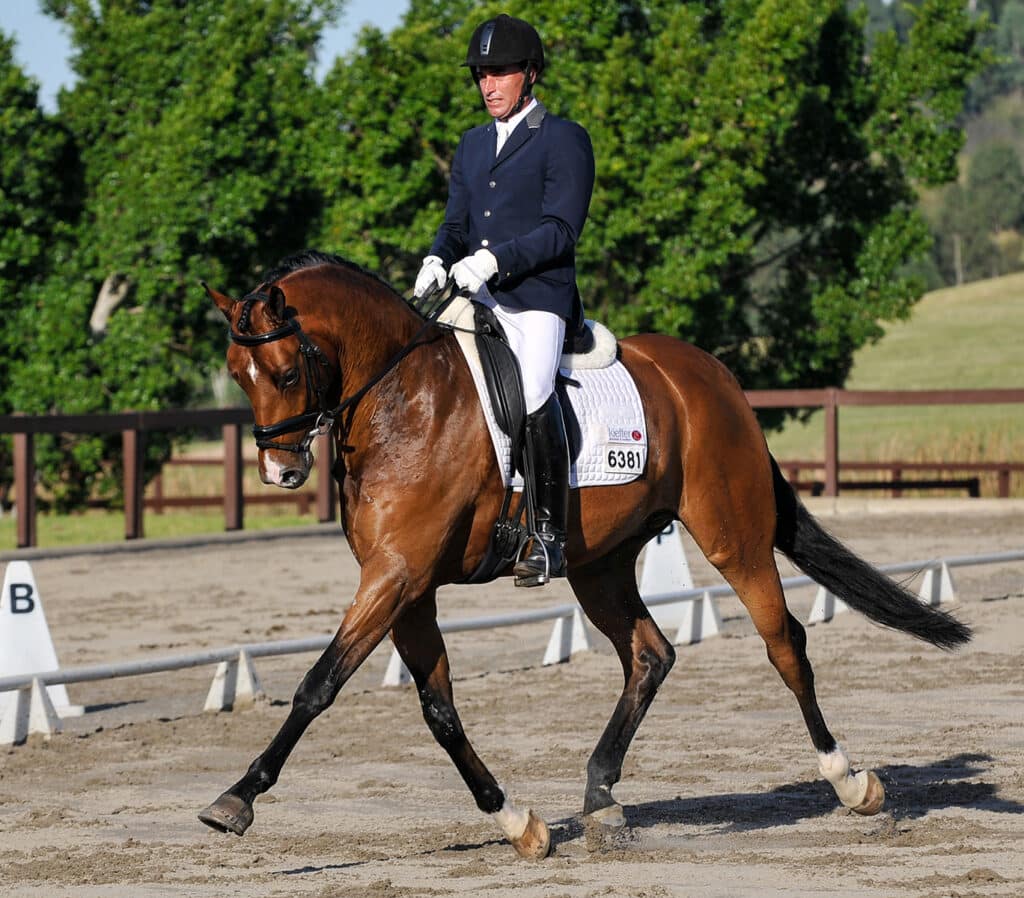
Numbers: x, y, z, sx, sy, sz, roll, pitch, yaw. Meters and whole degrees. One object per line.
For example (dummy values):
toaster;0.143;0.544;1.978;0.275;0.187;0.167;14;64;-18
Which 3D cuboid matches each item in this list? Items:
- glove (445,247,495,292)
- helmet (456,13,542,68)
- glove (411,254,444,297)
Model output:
glove;-0.245;-1.048;13.731;0.273;0.201;0.099;-44;-19;-4
helmet;-0.085;-2.451;14.012;0.305;0.272;0.398;-1;-3;39
glove;-0.525;-1.049;14.046;0.074;0.261;0.179;19;0;-28
